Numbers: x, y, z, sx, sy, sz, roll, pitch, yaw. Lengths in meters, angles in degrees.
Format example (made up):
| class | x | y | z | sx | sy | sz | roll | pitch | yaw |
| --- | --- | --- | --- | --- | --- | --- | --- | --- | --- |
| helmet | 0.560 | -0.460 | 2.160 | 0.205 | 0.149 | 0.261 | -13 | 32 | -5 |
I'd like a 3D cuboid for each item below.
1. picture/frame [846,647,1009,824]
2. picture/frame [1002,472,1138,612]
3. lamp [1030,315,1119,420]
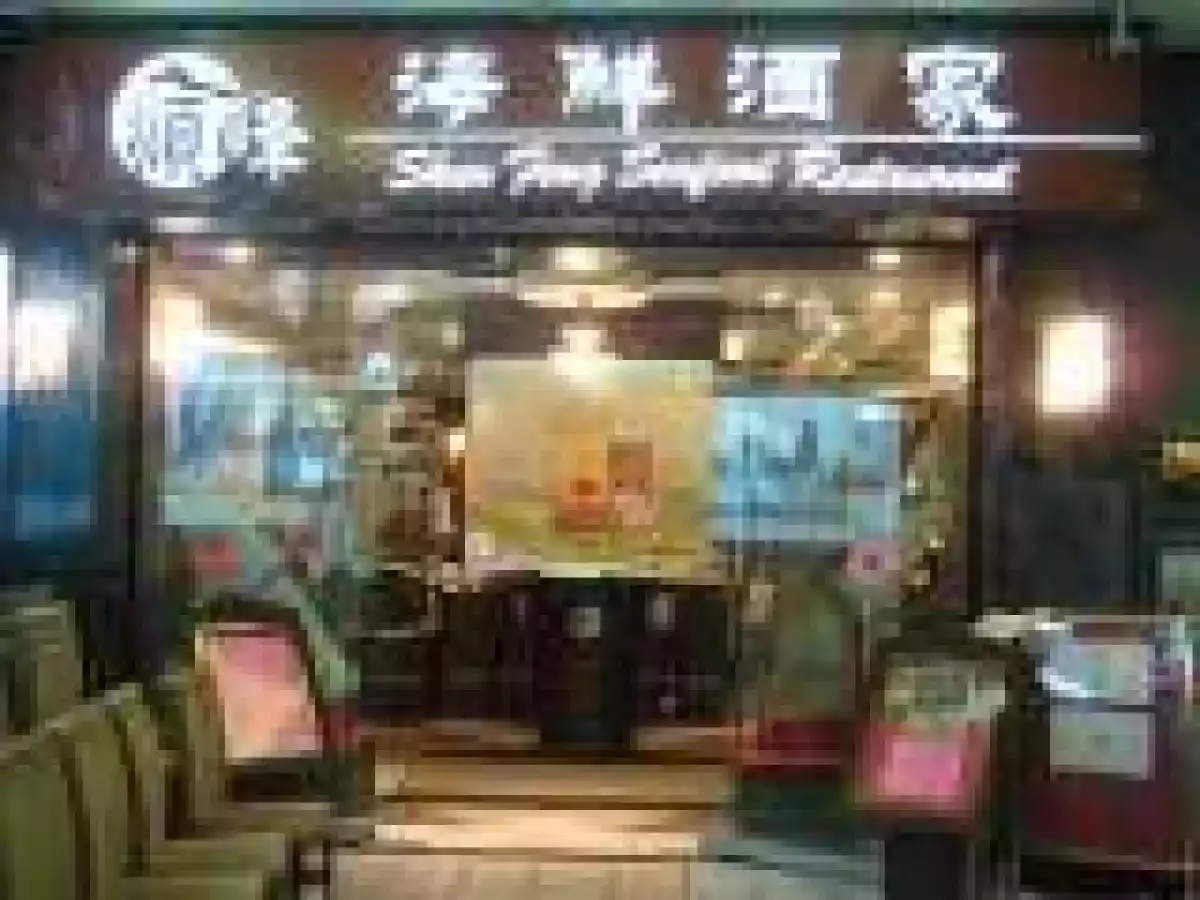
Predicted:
| class | x | y | z | sx | sy | sz | roll | pitch | yaw |
| --- | --- | --- | --- | --- | --- | --- | --- | --- | --- |
| picture/frame | 1.377 | 1.194 | 4.682 | 0.598 | 0.620 | 0.336 | 2 | 3 | 21 |
| picture/frame | 2.437 | 0.496 | 5.729 | 0.658 | 0.704 | 0.074 | 1 | -3 | 1 |
| lamp | 2.441 | -0.415 | 5.586 | 0.380 | 0.527 | 0.142 | 2 | -3 | 3 |
